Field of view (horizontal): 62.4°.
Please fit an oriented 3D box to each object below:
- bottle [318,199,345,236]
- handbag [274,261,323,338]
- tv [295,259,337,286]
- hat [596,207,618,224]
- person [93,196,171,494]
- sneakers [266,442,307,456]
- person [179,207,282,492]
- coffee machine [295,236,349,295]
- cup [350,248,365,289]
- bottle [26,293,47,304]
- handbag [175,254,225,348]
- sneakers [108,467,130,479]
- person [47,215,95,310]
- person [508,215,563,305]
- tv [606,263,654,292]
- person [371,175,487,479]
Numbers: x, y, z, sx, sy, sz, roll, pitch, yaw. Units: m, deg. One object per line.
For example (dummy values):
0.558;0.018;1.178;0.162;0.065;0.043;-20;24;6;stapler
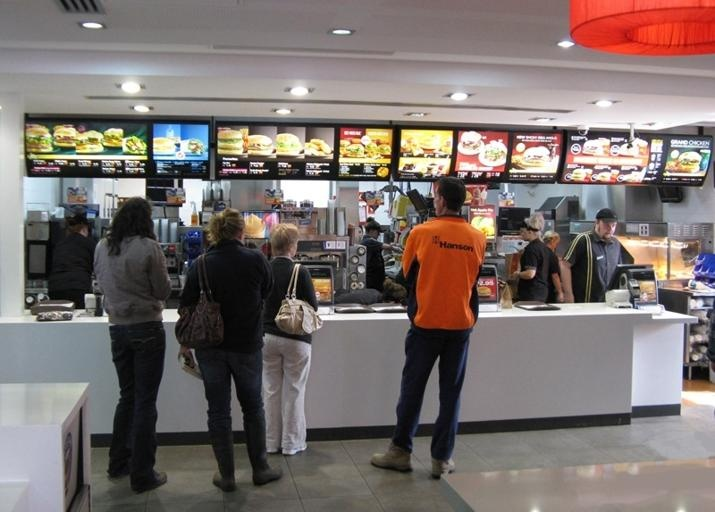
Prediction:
-0.306;-0.443;7.072;0.354;0.461;0.383;0;4;0;bottle
-0.414;0.319;4.201;0.202;0.488;0.440;-7;-9;34;handbag
-0.330;0.184;5.241;0.353;0.228;0.239;-1;-5;-4;tv
2.393;-0.391;5.655;0.156;0.118;0.209;1;-1;-6;hat
-1.501;0.577;3.972;0.427;1.925;0.295;5;6;39;person
-0.535;1.426;4.427;0.268;0.111;0.088;-1;1;-13;sneakers
-0.835;0.629;3.859;0.667;1.859;0.321;0;5;-9;person
-0.386;0.079;6.231;0.619;0.570;0.318;2;9;6;coffee machine
0.007;0.119;6.288;0.185;0.448;0.094;0;5;-10;cup
-2.721;0.367;4.990;0.162;0.094;0.351;-2;6;-30;bottle
-1.002;0.295;3.736;0.307;0.587;0.156;0;5;-8;handbag
-1.647;1.483;4.079;0.125;0.119;0.060;0;2;-12;sneakers
-2.853;0.066;5.876;0.430;0.966;0.446;-2;5;-25;person
1.924;0.028;6.360;0.543;0.974;0.437;-2;6;-27;person
2.550;0.207;5.461;0.381;0.240;0.241;3;6;23;tv
0.517;0.501;4.065;0.671;2.074;0.308;2;5;12;person
